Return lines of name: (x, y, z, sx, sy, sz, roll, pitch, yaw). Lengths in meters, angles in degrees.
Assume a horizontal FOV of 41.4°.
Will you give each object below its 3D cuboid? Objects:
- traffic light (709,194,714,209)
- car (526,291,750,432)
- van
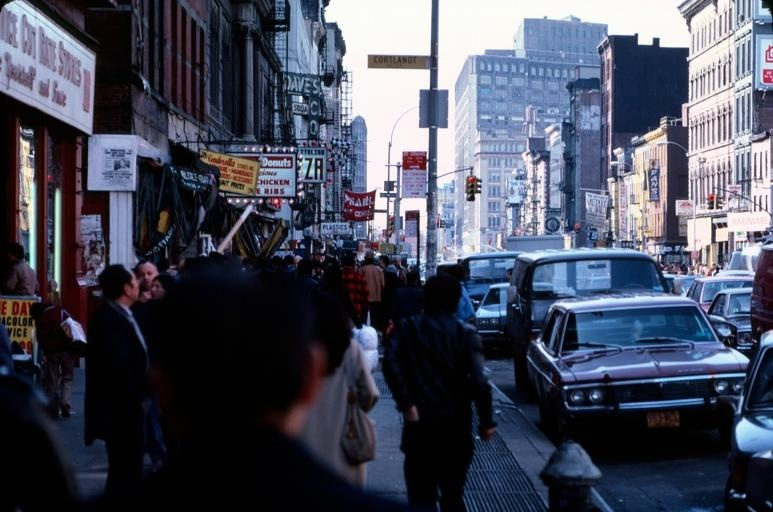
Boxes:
traffic light: (20.424, -3.525, 64.537, 0.336, 0.921, 2.211, 0, 0, 15)
car: (3.360, 1.470, 14.044, 1.543, 1.064, 3.007, -4, -3, -4)
van: (3.365, 0.925, 18.948, 1.870, 1.832, 3.181, -1, -2, -9)
